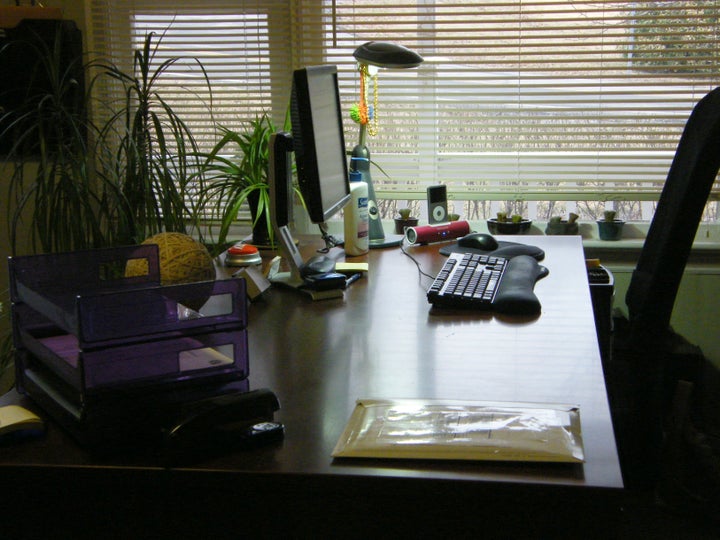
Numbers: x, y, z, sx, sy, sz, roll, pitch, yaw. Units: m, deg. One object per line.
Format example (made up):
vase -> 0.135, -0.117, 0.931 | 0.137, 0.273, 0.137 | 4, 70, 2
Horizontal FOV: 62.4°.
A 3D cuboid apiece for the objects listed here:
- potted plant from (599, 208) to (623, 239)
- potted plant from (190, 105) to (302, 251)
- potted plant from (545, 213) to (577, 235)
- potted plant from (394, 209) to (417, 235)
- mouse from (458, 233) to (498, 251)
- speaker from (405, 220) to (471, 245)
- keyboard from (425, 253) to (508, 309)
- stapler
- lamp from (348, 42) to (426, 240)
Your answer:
potted plant -> 1.133, -0.210, 2.724 | 0.132, 0.128, 0.131 | 0, 2, -1
potted plant -> -0.443, -0.376, 2.377 | 0.447, 0.706, 0.478 | -11, 19, -41
potted plant -> 0.910, -0.203, 2.711 | 0.117, 0.088, 0.109 | 0, 0, -4
potted plant -> 0.176, -0.198, 2.522 | 0.120, 0.121, 0.116 | 0, -1, -2
mouse -> 0.383, -0.096, 1.961 | 0.112, 0.036, 0.061 | 7, 16, 35
speaker -> 0.284, -0.133, 2.181 | 0.291, 0.085, 0.081 | -8, 8, -21
keyboard -> 0.298, 0.025, 1.604 | 0.161, 0.036, 0.341 | 7, 20, 17
stapler -> -0.207, 0.231, 0.902 | 0.180, 0.056, 0.088 | -7, 23, -19
lamp -> 0.033, -0.436, 2.218 | 0.227, 0.744, 0.435 | 1, 15, 0
